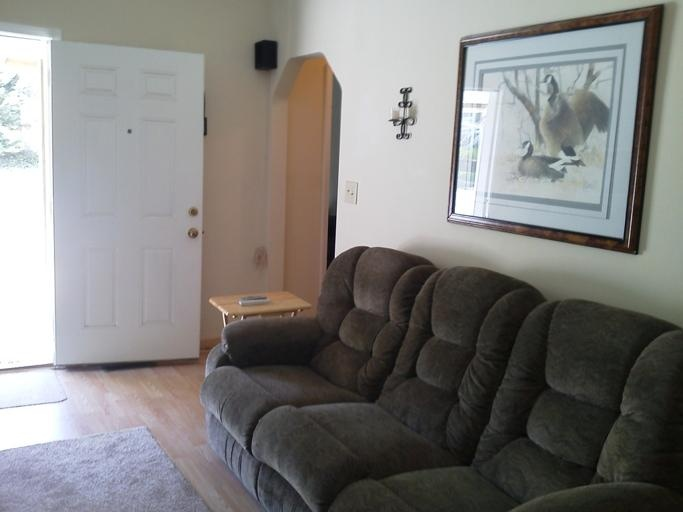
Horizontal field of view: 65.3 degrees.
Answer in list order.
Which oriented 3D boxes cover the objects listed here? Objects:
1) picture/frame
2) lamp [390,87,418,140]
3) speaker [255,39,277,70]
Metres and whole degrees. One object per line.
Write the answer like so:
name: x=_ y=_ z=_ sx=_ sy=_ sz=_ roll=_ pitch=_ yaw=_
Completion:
picture/frame: x=1.046 y=-0.609 z=2.536 sx=0.084 sy=1.249 sz=1.200 roll=-4 pitch=9 yaw=-39
lamp: x=0.375 y=-0.883 z=3.324 sx=0.104 sy=0.326 sz=0.204 roll=-4 pitch=14 yaw=-25
speaker: x=-0.638 y=-1.688 z=4.496 sx=0.195 sy=0.235 sz=0.165 roll=0 pitch=13 yaw=-10
